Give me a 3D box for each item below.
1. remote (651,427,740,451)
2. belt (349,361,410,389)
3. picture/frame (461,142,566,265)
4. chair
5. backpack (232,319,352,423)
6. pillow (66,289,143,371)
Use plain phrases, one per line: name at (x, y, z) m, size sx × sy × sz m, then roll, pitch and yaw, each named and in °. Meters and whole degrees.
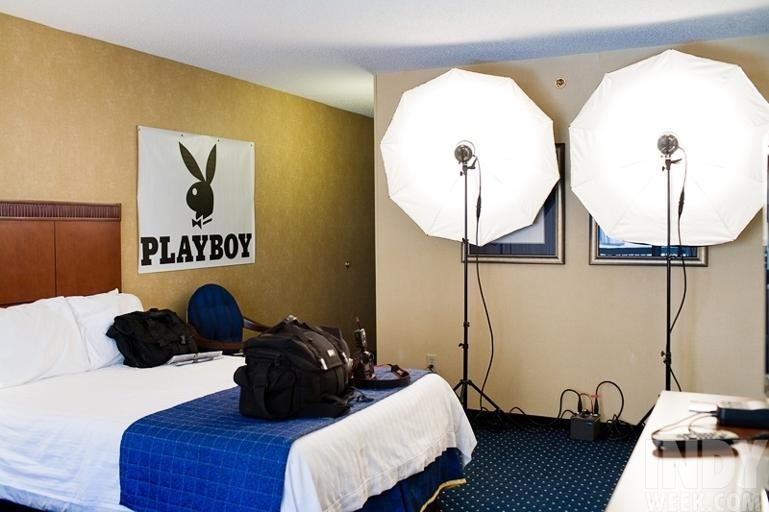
remote at (1.424, 0.842, 2.752) m, size 0.279 × 0.070 × 0.141 m, roll -1°, pitch -2°, yaw 3°
belt at (0.002, 0.805, 4.172) m, size 0.368 × 0.161 × 0.490 m, roll 0°, pitch 0°, yaw 12°
picture/frame at (1.133, -0.498, 5.181) m, size 0.970 × 1.205 × 0.056 m, roll 2°, pitch 3°, yaw 27°
chair at (-1.520, 0.632, 5.637) m, size 0.669 × 0.838 × 0.593 m, roll 5°, pitch 8°, yaw 40°
backpack at (-0.572, 0.716, 3.601) m, size 0.525 × 0.481 × 0.656 m, roll -2°, pitch -5°, yaw 12°
pillow at (-2.190, 0.561, 4.581) m, size 0.146 × 0.515 × 0.502 m, roll -22°, pitch -11°, yaw 37°
